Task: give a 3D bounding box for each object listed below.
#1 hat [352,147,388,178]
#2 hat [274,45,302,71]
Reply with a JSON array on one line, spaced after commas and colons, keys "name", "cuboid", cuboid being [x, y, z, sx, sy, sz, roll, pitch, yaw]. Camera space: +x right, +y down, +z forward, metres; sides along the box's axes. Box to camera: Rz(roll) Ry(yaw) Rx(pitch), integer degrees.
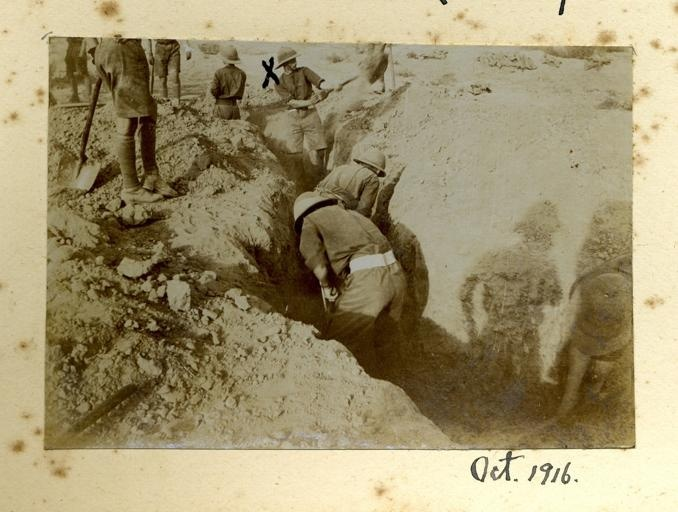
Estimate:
[{"name": "hat", "cuboid": [0.225, -0.648, 7.150, 0.221, 0.108, 0.173, 32, -8, -14]}, {"name": "hat", "cuboid": [-0.359, -1.340, 7.084, 0.139, 0.064, 0.136, -25, 12, 32]}]
